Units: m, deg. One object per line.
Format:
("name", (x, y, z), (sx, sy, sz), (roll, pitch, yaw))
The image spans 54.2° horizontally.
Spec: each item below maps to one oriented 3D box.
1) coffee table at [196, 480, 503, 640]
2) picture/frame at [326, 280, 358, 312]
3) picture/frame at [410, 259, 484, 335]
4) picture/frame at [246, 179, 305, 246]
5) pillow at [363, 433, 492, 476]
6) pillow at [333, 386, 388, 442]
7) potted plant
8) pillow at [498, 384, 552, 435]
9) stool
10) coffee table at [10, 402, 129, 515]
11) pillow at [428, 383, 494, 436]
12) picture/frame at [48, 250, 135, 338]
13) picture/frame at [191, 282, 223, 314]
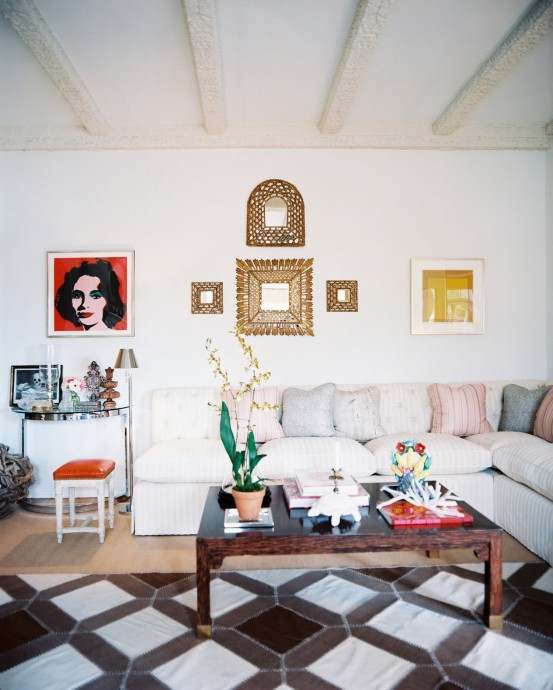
("coffee table", (0.282, 0.902, 2.323), (1.198, 0.394, 0.499), (-1, 3, -1))
("picture/frame", (0.496, -0.365, 4.039), (0.236, 0.230, 0.051), (-1, 3, 6))
("picture/frame", (1.271, -0.355, 4.098), (0.624, 0.576, 0.024), (1, -2, -8))
("picture/frame", (-0.002, -0.990, 4.035), (0.456, 0.486, 0.025), (-4, 12, -20))
("pillow", (0.926, 0.674, 3.295), (0.762, 0.196, 0.365), (-1, 3, 7))
("pillow", (0.533, 0.471, 3.584), (0.349, 0.328, 0.100), (3, -35, 0))
("potted plant", (-0.090, 0.389, 2.336), (0.309, 0.698, 0.252), (-1, -5, -10))
("pillow", (1.693, 0.430, 3.667), (0.142, 0.316, 0.330), (23, -10, -38))
("stool", (-1.096, 0.895, 3.137), (0.304, 0.398, 0.308), (-2, -4, -1))
("coffee table", (-1.449, 0.759, 3.934), (0.789, 0.580, 0.787), (0, -3, -6))
("pillow", (1.234, 0.446, 3.637), (0.341, 0.304, 0.116), (1, -24, 3))
("picture/frame", (-1.372, -0.379, 3.977), (0.690, 0.637, 0.023), (0, 2, -1))
("picture/frame", (-0.520, -0.349, 3.992), (0.255, 0.244, 0.029), (0, -1, -3))
